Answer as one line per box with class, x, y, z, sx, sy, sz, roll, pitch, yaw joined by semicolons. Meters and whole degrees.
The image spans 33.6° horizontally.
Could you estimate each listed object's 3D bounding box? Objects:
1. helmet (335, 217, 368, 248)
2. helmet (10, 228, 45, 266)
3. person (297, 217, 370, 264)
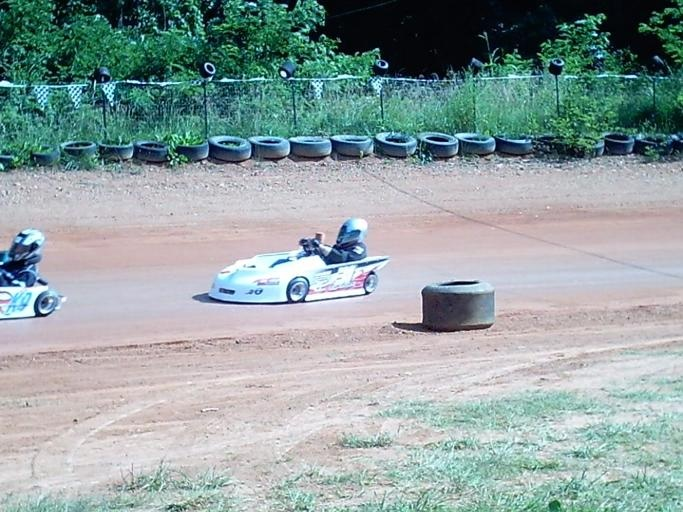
helmet;0.159;-0.455;19.767;0.612;0.440;0.404;-1;16;3
helmet;-5.147;-0.171;18.368;0.530;0.499;0.336;-3;8;-15
person;-0.166;-0.318;19.836;1.102;0.685;0.730;4;11;-9
